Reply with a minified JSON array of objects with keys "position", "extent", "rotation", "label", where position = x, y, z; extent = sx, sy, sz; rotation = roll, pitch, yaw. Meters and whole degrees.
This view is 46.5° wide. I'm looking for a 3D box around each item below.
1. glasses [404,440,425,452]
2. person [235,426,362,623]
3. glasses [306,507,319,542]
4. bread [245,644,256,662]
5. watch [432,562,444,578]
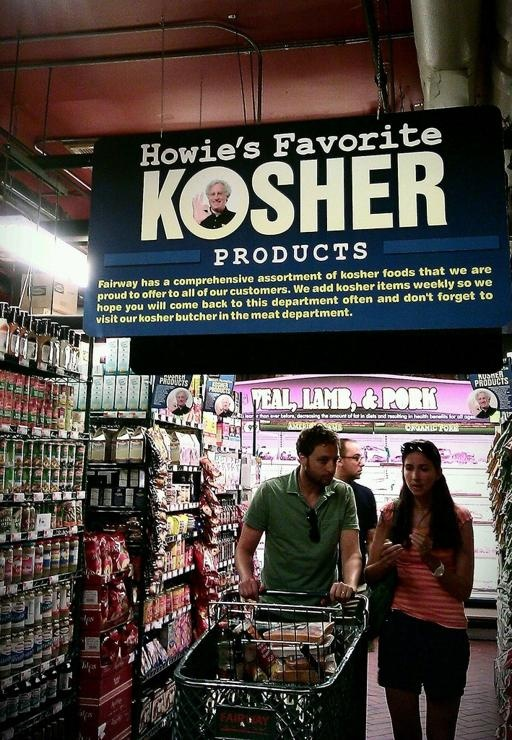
[{"position":[0.665,0.319,2.492],"extent":[0.054,0.024,0.058],"rotation":[-2,-37,28],"label":"glasses"},{"position":[0.170,0.655,2.376],"extent":[0.463,0.829,0.426],"rotation":[1,-3,6],"label":"person"},{"position":[0.225,0.613,2.344],"extent":[0.048,0.127,0.045],"rotation":[-1,-9,3],"label":"glasses"},{"position":[-0.016,0.756,1.590],"extent":[0.037,0.039,0.037],"rotation":[-1,0,-6],"label":"bread"},{"position":[0.692,0.759,2.249],"extent":[0.029,0.053,0.041],"rotation":[24,-13,36],"label":"watch"}]
